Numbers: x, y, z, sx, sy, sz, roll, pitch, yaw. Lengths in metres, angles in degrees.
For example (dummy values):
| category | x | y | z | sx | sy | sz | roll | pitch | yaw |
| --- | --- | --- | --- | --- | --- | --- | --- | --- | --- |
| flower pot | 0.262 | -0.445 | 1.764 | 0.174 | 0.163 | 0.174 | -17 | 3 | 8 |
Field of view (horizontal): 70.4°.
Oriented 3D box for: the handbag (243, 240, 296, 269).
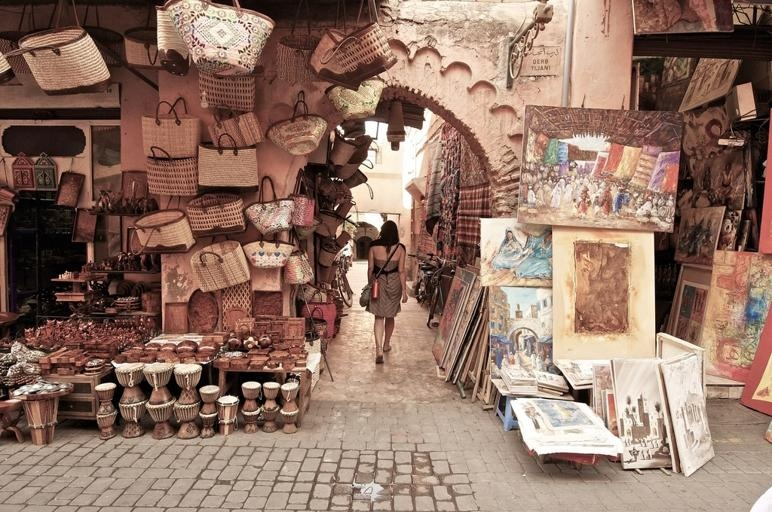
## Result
| category | x | y | z | sx | sy | sz | roll | pitch | yaw |
| --- | --- | --- | --- | --- | --- | --- | --- | --- | --- |
| handbag | -1.504 | -0.027 | 6.977 | 0.776 | 0.393 | 0.297 | 1 | 0 | 1 |

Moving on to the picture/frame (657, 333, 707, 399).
| category | x | y | z | sx | sy | sz | roll | pitch | yaw |
| --- | --- | --- | --- | --- | --- | --- | --- | --- | --- |
| picture/frame | 3.308 | 1.239 | 6.229 | 0.185 | 0.654 | 0.662 | -3 | 4 | 9 |

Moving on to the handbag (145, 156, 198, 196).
| category | x | y | z | sx | sy | sz | roll | pitch | yaw |
| --- | --- | --- | --- | --- | --- | --- | --- | --- | --- |
| handbag | -2.757 | -1.116 | 7.069 | 0.679 | 0.615 | 0.415 | 2 | 24 | 1 |

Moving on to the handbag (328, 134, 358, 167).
| category | x | y | z | sx | sy | sz | roll | pitch | yaw |
| --- | --- | --- | --- | --- | --- | --- | --- | --- | --- |
| handbag | -0.698 | -1.636 | 8.494 | 0.483 | 0.396 | 0.358 | 1 | 3 | 43 |

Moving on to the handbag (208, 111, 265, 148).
| category | x | y | z | sx | sy | sz | roll | pitch | yaw |
| --- | --- | --- | --- | --- | --- | --- | --- | --- | --- |
| handbag | -1.976 | -1.623 | 6.878 | 0.634 | 0.532 | 0.208 | -25 | 22 | -33 |

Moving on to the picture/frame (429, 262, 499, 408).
| category | x | y | z | sx | sy | sz | roll | pitch | yaw |
| --- | --- | --- | --- | --- | --- | --- | --- | --- | --- |
| picture/frame | 1.099 | 1.147 | 7.503 | 0.665 | 1.627 | 1.682 | 1 | 6 | -5 |

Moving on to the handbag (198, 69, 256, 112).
| category | x | y | z | sx | sy | sz | roll | pitch | yaw |
| --- | --- | --- | --- | --- | --- | --- | --- | --- | --- |
| handbag | -1.900 | -2.061 | 6.850 | 0.613 | 0.434 | 0.350 | 6 | 22 | 3 |

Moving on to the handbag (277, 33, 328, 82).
| category | x | y | z | sx | sy | sz | roll | pitch | yaw |
| --- | --- | --- | --- | --- | --- | --- | --- | --- | --- |
| handbag | -1.094 | -2.371 | 6.718 | 0.456 | 0.346 | 0.438 | 12 | 23 | 37 |

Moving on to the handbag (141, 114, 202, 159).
| category | x | y | z | sx | sy | sz | roll | pitch | yaw |
| --- | --- | --- | --- | --- | --- | --- | --- | --- | --- |
| handbag | -2.722 | -1.501 | 7.015 | 0.833 | 0.556 | 0.478 | 1 | 7 | -2 |

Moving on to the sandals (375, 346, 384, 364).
| category | x | y | z | sx | sy | sz | roll | pitch | yaw |
| --- | --- | --- | --- | --- | --- | --- | --- | --- | --- |
| sandals | -0.093 | 1.520 | 8.307 | 0.206 | 0.251 | 0.608 | 0 | -7 | 0 |

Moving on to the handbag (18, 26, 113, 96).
| category | x | y | z | sx | sy | sz | roll | pitch | yaw |
| --- | --- | --- | --- | --- | --- | --- | --- | --- | --- |
| handbag | -3.472 | -2.028 | 5.850 | 0.811 | 0.609 | 0.684 | -19 | 41 | -20 |

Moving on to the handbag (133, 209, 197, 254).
| category | x | y | z | sx | sy | sz | roll | pitch | yaw |
| --- | --- | --- | --- | --- | --- | --- | --- | --- | --- |
| handbag | -2.797 | -0.316 | 7.043 | 0.743 | 0.470 | 0.541 | -4 | 23 | 3 |

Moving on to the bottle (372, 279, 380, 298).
| category | x | y | z | sx | sy | sz | roll | pitch | yaw |
| --- | --- | --- | --- | --- | --- | --- | --- | --- | --- |
| bottle | -0.141 | 0.512 | 8.259 | 0.116 | 0.290 | 0.071 | -1 | 3 | -3 |

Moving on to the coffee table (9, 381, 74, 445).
| category | x | y | z | sx | sy | sz | roll | pitch | yaw |
| --- | --- | --- | --- | --- | --- | --- | --- | --- | --- |
| coffee table | -3.880 | 1.718 | 6.220 | 0.643 | 0.691 | 0.633 | 3 | 4 | 14 |

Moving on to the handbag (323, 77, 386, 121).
| category | x | y | z | sx | sy | sz | roll | pitch | yaw |
| --- | --- | --- | --- | --- | --- | --- | --- | --- | --- |
| handbag | -0.398 | -1.876 | 7.041 | 0.695 | 0.317 | 0.582 | 6 | -9 | 9 |

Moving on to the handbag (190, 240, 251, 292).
| category | x | y | z | sx | sy | sz | roll | pitch | yaw |
| --- | --- | --- | --- | --- | --- | --- | --- | --- | --- |
| handbag | -2.088 | 0.128 | 7.014 | 0.493 | 0.483 | 0.323 | -16 | 31 | 2 |

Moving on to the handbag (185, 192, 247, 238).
| category | x | y | z | sx | sy | sz | roll | pitch | yaw |
| --- | --- | --- | --- | --- | --- | --- | --- | --- | --- |
| handbag | -2.122 | -0.525 | 7.050 | 0.712 | 0.476 | 0.433 | -7 | 28 | 1 |

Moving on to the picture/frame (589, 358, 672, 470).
| category | x | y | z | sx | sy | sz | roll | pitch | yaw |
| --- | --- | --- | --- | --- | --- | --- | --- | --- | --- |
| picture/frame | 2.665 | 1.688 | 5.859 | 0.840 | 1.133 | 0.422 | 0 | 3 | 22 |

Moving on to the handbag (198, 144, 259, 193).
| category | x | y | z | sx | sy | sz | roll | pitch | yaw |
| --- | --- | --- | --- | --- | --- | --- | --- | --- | --- |
| handbag | -2.099 | -1.150 | 7.048 | 0.898 | 0.648 | 0.513 | -3 | 11 | -31 |

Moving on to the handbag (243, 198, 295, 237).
| category | x | y | z | sx | sy | sz | roll | pitch | yaw |
| --- | --- | --- | --- | --- | --- | --- | --- | --- | --- |
| handbag | -1.408 | -0.492 | 6.913 | 0.614 | 0.411 | 0.334 | -13 | 6 | -5 |

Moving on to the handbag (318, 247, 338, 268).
| category | x | y | z | sx | sy | sz | roll | pitch | yaw |
| --- | --- | --- | --- | --- | --- | --- | --- | --- | --- |
| handbag | -1.037 | 0.049 | 9.839 | 0.315 | 0.282 | 0.286 | 3 | 5 | 1 |

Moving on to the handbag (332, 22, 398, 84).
| category | x | y | z | sx | sy | sz | roll | pitch | yaw |
| --- | --- | --- | --- | --- | --- | --- | --- | --- | --- |
| handbag | -0.300 | -2.114 | 6.035 | 0.732 | 0.527 | 0.564 | -11 | -1 | 22 |

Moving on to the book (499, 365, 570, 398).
| category | x | y | z | sx | sy | sz | roll | pitch | yaw |
| --- | --- | --- | --- | --- | --- | --- | --- | --- | --- |
| book | 1.756 | 1.482 | 6.428 | 0.732 | 0.291 | 0.408 | -1 | 2 | -4 |

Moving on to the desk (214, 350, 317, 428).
| category | x | y | z | sx | sy | sz | roll | pitch | yaw |
| --- | --- | --- | --- | --- | --- | --- | --- | --- | --- |
| desk | -1.424 | 1.597 | 6.737 | 1.116 | 0.810 | 1.089 | -1 | 2 | -4 |

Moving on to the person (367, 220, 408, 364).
| category | x | y | z | sx | sy | sz | roll | pitch | yaw |
| --- | --- | --- | --- | --- | --- | --- | --- | --- | --- |
| person | 0.014 | 0.527 | 8.605 | 0.611 | 2.177 | 0.886 | -1 | 3 | 1 |
